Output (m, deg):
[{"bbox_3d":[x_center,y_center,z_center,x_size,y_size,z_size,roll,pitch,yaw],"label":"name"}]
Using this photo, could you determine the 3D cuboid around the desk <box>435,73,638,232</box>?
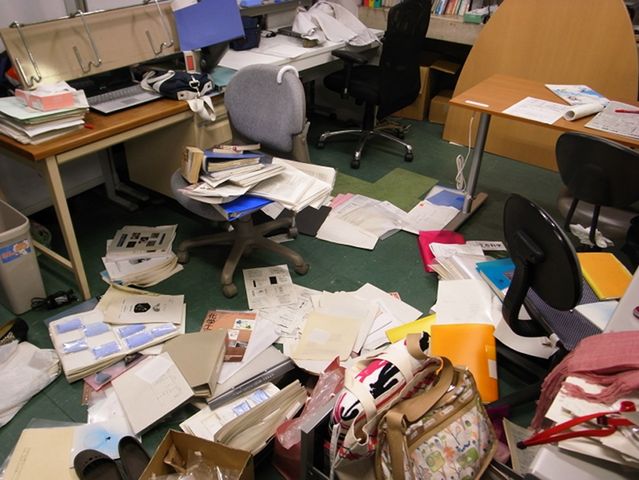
[{"bbox_3d":[1.317,-0.518,2.739,1.004,0.685,0.527,27,52,20],"label":"desk"}]

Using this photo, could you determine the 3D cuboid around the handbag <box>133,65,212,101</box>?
[{"bbox_3d":[-0.834,-0.888,2.592,0.301,0.110,0.236,19,37,25],"label":"handbag"}]

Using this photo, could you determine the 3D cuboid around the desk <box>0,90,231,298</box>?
[{"bbox_3d":[-1.127,-0.413,2.658,0.591,0.824,1.193,22,46,32],"label":"desk"}]

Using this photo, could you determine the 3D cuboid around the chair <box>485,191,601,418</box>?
[{"bbox_3d":[0.907,0.254,1.833,0.341,0.893,0.508,-2,38,6],"label":"chair"}]

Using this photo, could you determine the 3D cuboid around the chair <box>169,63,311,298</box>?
[{"bbox_3d":[-0.443,-0.319,2.496,0.805,1.030,0.797,28,42,30],"label":"chair"}]

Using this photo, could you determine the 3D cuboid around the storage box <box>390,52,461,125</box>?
[{"bbox_3d":[1.102,-1.381,4.318,0.660,0.459,0.549,22,45,13],"label":"storage box"}]
